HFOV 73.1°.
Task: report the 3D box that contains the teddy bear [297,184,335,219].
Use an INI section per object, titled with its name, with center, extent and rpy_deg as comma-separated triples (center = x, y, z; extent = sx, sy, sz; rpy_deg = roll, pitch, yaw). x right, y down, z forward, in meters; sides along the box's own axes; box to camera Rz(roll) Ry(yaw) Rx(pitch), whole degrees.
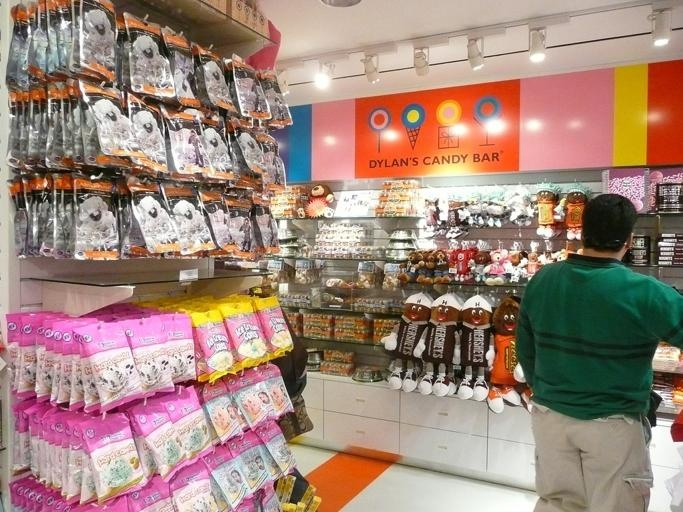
[teddy bear]
center = -0.275, -0.586, 4.880
extent = 0.388, 0.368, 0.311
rpy_deg = -1, 8, 11
